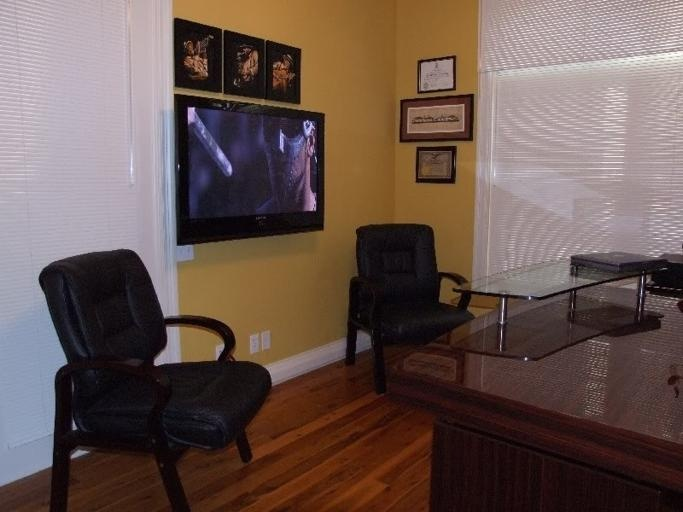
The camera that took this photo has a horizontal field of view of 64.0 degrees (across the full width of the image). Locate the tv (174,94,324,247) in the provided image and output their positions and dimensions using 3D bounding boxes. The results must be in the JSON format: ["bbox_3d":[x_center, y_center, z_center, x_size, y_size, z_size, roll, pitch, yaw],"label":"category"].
[{"bbox_3d":[-0.561,-0.551,3.611,0.104,0.886,1.328,7,11,36],"label":"tv"}]

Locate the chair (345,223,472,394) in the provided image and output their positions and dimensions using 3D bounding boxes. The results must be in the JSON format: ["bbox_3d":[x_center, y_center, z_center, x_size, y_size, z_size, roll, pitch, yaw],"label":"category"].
[{"bbox_3d":[0.499,0.320,4.049,0.799,1.015,0.659,-6,12,-24],"label":"chair"}]

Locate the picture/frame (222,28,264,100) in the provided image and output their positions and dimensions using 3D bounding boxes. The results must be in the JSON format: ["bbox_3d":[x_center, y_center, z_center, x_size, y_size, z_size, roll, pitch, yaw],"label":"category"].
[{"bbox_3d":[-0.610,-1.214,3.503,0.090,0.392,0.358,9,16,33],"label":"picture/frame"}]

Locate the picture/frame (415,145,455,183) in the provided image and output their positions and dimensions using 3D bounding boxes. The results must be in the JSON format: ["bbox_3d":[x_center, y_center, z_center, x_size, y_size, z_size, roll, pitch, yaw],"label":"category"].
[{"bbox_3d":[0.782,-0.762,4.513,0.333,0.271,0.026,8,10,39],"label":"picture/frame"}]

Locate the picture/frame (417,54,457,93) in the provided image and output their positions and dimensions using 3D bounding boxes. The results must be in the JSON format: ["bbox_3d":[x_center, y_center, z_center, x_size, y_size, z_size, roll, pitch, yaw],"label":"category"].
[{"bbox_3d":[0.779,-1.478,4.426,0.363,0.283,0.029,5,9,37],"label":"picture/frame"}]

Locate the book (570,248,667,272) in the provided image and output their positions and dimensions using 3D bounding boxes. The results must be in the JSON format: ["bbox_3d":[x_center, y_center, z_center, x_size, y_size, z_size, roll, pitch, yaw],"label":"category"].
[{"bbox_3d":[1.491,0.048,2.943,0.421,0.088,0.286,-1,13,-4],"label":"book"}]
